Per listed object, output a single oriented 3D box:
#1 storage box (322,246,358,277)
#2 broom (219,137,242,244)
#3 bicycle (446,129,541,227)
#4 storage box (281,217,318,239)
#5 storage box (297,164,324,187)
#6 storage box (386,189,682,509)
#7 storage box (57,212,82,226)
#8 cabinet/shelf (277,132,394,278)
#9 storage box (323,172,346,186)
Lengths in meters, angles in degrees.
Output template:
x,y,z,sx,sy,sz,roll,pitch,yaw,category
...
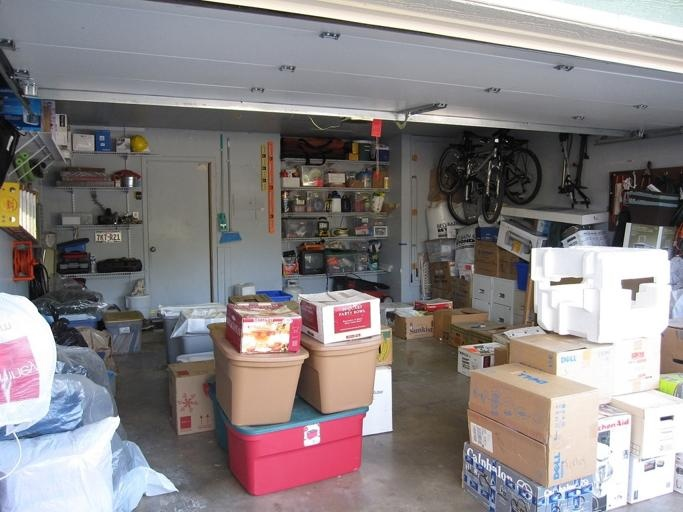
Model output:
x,y,z,sx,sy,sz,roll,pitch,yaw,category
-0.003,0.102,8.538,0.485,0.292,0.484,-2,5,-22,storage box
-1.764,-1.011,7.635,0.258,1.656,0.224,-2,10,-13,broom
2.027,-1.323,7.728,0.981,1.267,1.977,0,26,-20,bicycle
-0.665,-0.467,8.398,0.611,0.361,0.332,0,-1,-21,storage box
-0.477,-1.323,8.327,0.233,0.355,0.488,7,11,37,storage box
1.682,0.737,4.318,0.879,2.462,2.702,3,-2,-29,storage box
-3.705,-0.495,6.897,0.272,0.182,0.184,-2,9,-14,storage box
-0.139,-0.911,8.451,2.475,2.905,0.776,0,0,-21,cabinet/shelf
-0.088,-1.291,8.422,0.319,0.222,0.185,-1,9,-7,storage box
